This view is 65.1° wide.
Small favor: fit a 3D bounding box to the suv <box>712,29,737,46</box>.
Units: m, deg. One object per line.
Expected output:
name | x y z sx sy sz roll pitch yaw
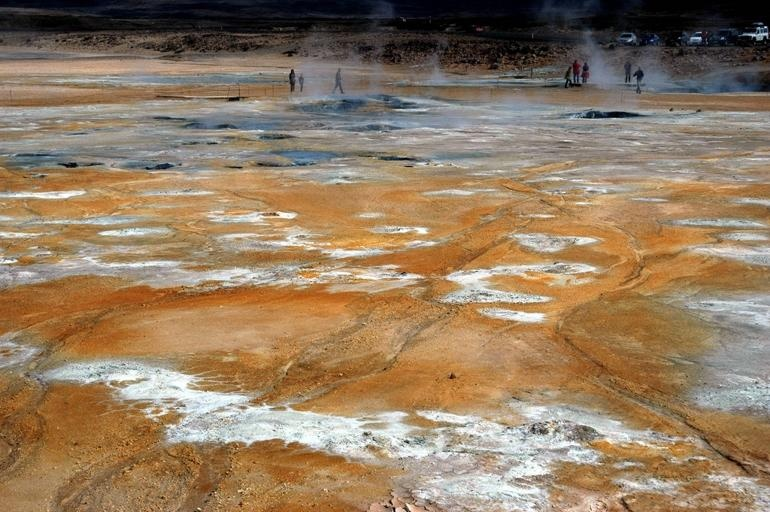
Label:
suv | 29.066 -18.639 51.400 1.747 1.425 2.974 7 14 22
